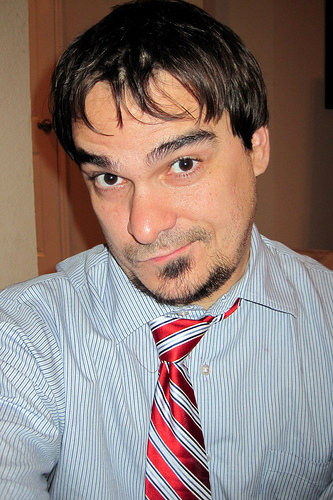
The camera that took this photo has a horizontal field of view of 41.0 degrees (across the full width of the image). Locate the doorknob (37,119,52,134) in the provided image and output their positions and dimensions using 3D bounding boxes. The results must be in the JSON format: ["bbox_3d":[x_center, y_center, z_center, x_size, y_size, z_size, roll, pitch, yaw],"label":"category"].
[{"bbox_3d":[-0.879,-0.898,3.229,0.193,0.105,0.054,8,14,44],"label":"doorknob"}]

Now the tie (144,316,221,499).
[{"bbox_3d":[0.023,0.280,0.823,0.110,0.262,0.214,-1,10,5],"label":"tie"}]
